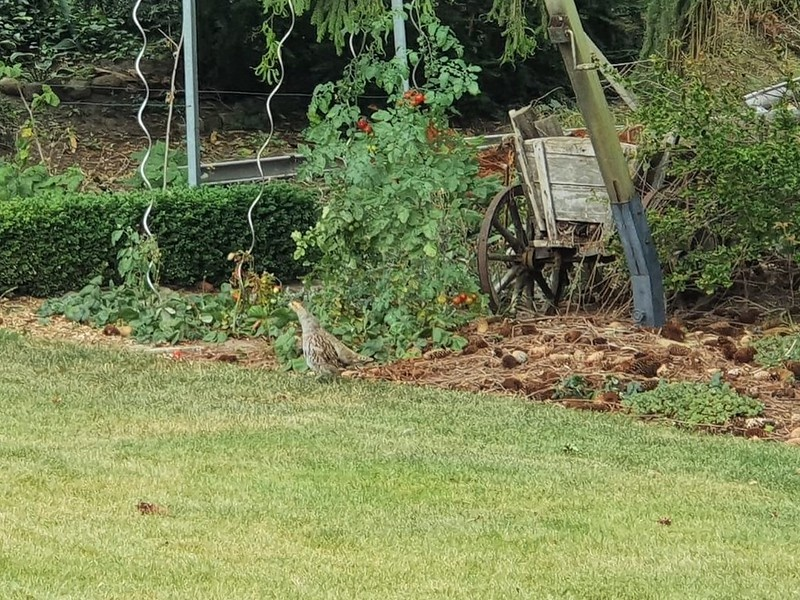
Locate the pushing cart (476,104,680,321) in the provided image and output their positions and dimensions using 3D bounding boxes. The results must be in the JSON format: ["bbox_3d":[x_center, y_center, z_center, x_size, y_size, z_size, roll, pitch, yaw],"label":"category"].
[{"bbox_3d":[1.573,-0.919,13.066,1.508,2.024,1.401,1,9,10],"label":"pushing cart"}]

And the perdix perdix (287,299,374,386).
[{"bbox_3d":[-0.680,0.260,11.629,0.663,0.748,0.595,-4,17,-33],"label":"perdix perdix"}]
